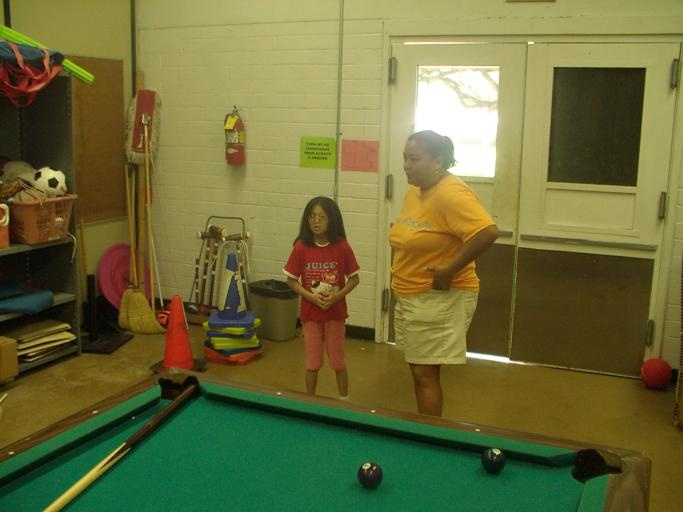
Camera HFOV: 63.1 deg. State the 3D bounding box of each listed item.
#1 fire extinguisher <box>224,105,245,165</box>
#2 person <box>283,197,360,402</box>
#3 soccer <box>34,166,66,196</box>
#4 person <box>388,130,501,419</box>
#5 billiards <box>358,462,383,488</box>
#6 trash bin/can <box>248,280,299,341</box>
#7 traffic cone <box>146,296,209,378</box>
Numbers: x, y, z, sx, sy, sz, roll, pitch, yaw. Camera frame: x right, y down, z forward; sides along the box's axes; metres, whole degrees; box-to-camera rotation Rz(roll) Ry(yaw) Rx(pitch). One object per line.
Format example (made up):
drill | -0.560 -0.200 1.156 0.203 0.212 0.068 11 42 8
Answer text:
fire extinguisher | -0.996 -1.140 5.224 0.169 0.528 0.207 4 12 5
person | -0.150 0.264 3.659 0.422 1.211 0.532 1 3 1
soccer | -2.199 -0.553 4.190 0.215 0.213 0.133 -4 13 -29
person | 0.491 0.040 3.122 0.615 1.573 0.539 -3 5 -44
billiards | 0.091 0.708 1.833 0.078 0.077 0.076 7 10 2
trash bin/can | -0.606 0.438 5.238 0.541 0.552 0.416 4 7 16
traffic cone | -1.336 0.661 4.517 0.492 0.661 0.491 2 9 4
